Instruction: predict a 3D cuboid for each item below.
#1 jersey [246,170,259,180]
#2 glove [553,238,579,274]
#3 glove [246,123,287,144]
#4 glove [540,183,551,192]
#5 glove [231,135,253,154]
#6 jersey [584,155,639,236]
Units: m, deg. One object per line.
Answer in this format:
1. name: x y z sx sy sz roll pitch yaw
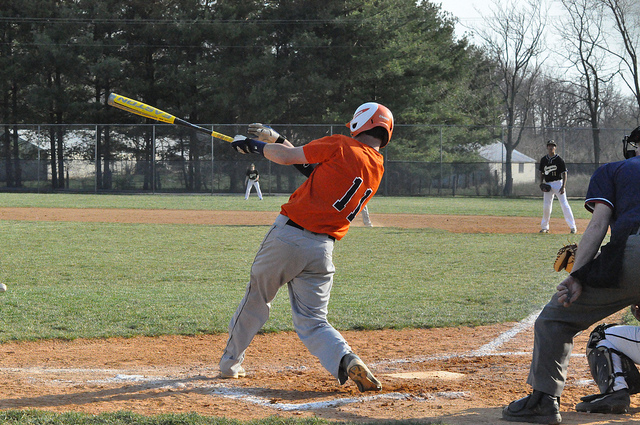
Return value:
1. jersey: -3.503 -1.956 54.704 0.495 0.493 0.538 0 1 -12
2. glove: 8.307 1.479 35.183 0.603 1.031 0.484 20 12 34
3. glove: -1.849 -2.644 35.333 1.038 0.412 0.670 13 6 -12
4. glove: 9.396 -1.031 43.790 0.469 0.364 0.251 -1 1 -26
5. glove: -2.577 -2.287 35.240 0.817 0.584 0.325 1 1 29
6. jersey: 9.739 -0.625 34.784 1.369 2.798 2.170 -1 -1 5
